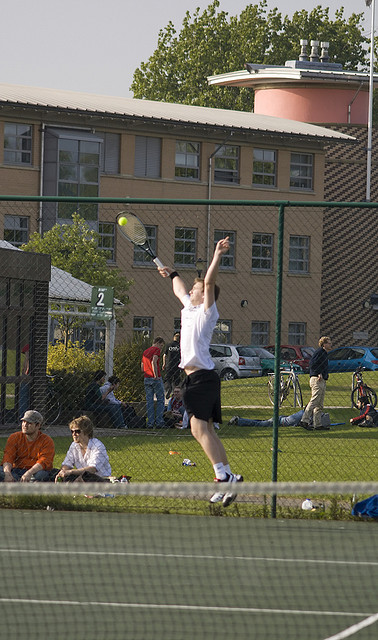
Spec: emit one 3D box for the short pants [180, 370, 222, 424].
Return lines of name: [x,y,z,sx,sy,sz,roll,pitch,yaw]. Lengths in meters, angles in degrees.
short pants: [0.099,0.597,9.446,0.317,0.500,0.355,6,11,30]

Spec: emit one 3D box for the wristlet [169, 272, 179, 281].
wristlet: [-0.126,-0.386,9.961,0.056,0.050,0.050,1,-2,-42]

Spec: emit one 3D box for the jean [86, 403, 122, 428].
jean: [-1.257,1.460,18.244,0.399,0.366,0.183,7,7,22]

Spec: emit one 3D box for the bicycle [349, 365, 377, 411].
bicycle: [3.260,1.206,21.698,0.401,0.545,0.856,-23,-5,-4]

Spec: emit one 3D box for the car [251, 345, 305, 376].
car: [2.727,1.200,34.693,1.528,0.819,0.901,5,-2,11]

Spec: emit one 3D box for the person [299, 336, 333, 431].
person: [2.410,1.255,22.250,0.588,1.852,0.636,2,27,7]

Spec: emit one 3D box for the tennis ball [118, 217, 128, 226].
tennis ball: [-0.576,-0.871,10.253,0.058,0.077,0.060,-10,6,1]

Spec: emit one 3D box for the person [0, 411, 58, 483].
person: [-1.479,1.185,10.960,0.584,0.809,0.595,-1,-3,12]

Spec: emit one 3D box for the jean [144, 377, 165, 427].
jean: [-0.558,1.235,18.692,0.300,1.014,0.237,-1,24,4]

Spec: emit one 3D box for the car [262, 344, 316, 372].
car: [2.517,0.980,29.843,1.433,0.811,0.890,5,2,19]

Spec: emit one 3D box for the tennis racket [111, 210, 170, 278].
tennis racket: [-0.455,-0.724,10.210,0.256,0.095,0.937,-22,54,-16]

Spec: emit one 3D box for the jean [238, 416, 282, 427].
jean: [1.078,1.653,18.908,0.527,0.145,0.567,1,1,7]

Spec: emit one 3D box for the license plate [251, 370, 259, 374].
license plate: [1.886,1.494,33.551,0.072,0.115,0.270,2,1,38]

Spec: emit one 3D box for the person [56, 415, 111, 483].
person: [-1.036,1.259,11.106,0.545,0.779,0.510,7,-14,-33]

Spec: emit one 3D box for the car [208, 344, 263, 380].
car: [1.156,1.178,33.920,1.660,0.961,0.973,7,6,43]
